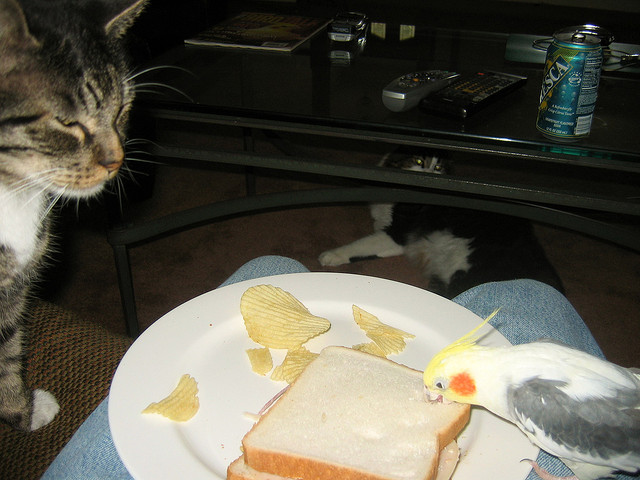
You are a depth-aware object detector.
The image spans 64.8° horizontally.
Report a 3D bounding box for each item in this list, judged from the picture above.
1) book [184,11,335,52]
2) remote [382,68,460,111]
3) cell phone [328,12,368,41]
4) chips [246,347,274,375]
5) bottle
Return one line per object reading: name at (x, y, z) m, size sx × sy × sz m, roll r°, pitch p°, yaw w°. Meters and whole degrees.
book at (-0.151, -0.619, 1.454) m, size 0.354 × 0.008 × 0.332 m, roll 11°, pitch 39°, yaw 15°
remote at (0.239, -0.359, 1.171) m, size 0.210 × 0.048 × 0.090 m, roll -33°, pitch 45°, yaw -31°
cell phone at (0.085, -0.635, 1.473) m, size 0.080 × 0.037 × 0.132 m, roll 8°, pitch 34°, yaw 14°
chips at (-0.090, 0.189, 0.780) m, size 0.036 × 0.004 × 0.036 m, roll 4°, pitch 46°, yaw -11°
bottle at (0.449, -0.291, 0.966) m, size 0.122 × 0.197 × 0.101 m, roll -3°, pitch 34°, yaw -5°
